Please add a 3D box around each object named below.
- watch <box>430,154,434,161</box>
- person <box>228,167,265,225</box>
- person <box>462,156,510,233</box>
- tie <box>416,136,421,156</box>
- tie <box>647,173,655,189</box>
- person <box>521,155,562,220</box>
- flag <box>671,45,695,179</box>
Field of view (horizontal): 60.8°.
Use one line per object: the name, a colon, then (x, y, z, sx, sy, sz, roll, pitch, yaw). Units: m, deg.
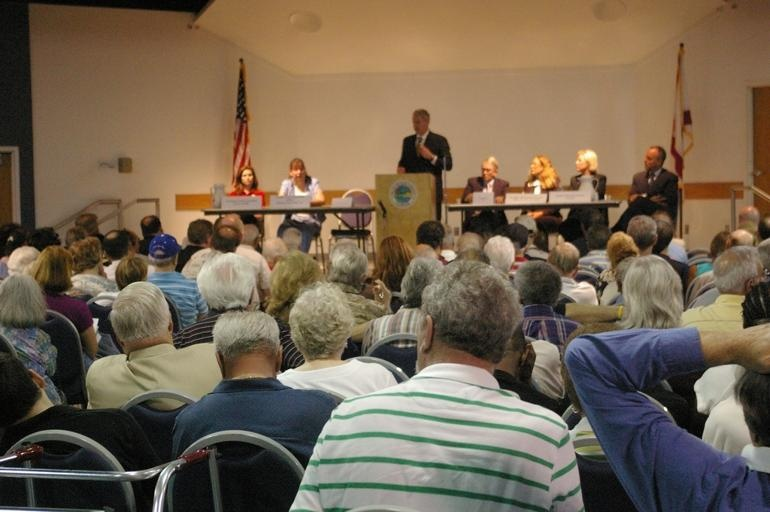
watch: (0.581, -1.225, 8.046, 0.046, 0.038, 0.047, 2, -2, -26)
person: (-1.872, -0.645, 9.007, 0.423, 1.087, 0.548, -3, -3, 5)
person: (1.401, -0.576, 8.984, 0.576, 1.523, 0.820, 0, 1, 0)
tie: (0.428, -1.388, 8.168, 0.038, 0.190, 0.137, -2, 7, 8)
tie: (3.640, -1.048, 8.999, 0.052, 0.151, 0.102, 22, -23, -16)
person: (2.100, -0.890, 8.969, 0.537, 0.939, 0.585, 2, -2, 42)
flag: (4.766, -2.376, 10.552, 0.304, 2.216, 0.655, 3, 5, 23)
